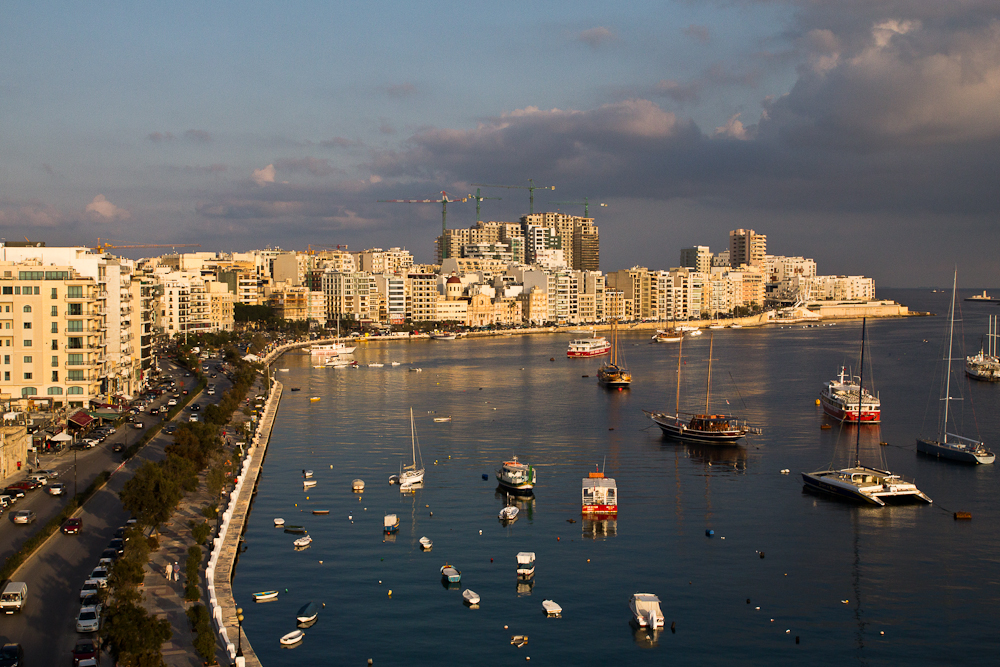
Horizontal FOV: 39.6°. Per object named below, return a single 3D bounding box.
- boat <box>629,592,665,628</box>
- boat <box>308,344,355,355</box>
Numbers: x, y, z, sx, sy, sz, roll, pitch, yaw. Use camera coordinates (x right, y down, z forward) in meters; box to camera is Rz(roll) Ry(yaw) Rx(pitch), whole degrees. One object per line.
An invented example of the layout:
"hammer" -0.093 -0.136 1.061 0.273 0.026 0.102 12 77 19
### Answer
"boat" 11.664 21.932 110.176 2.634 1.596 3.409 2 11 2
"boat" -31.841 2.873 260.940 6.311 1.457 1.821 0 12 4
